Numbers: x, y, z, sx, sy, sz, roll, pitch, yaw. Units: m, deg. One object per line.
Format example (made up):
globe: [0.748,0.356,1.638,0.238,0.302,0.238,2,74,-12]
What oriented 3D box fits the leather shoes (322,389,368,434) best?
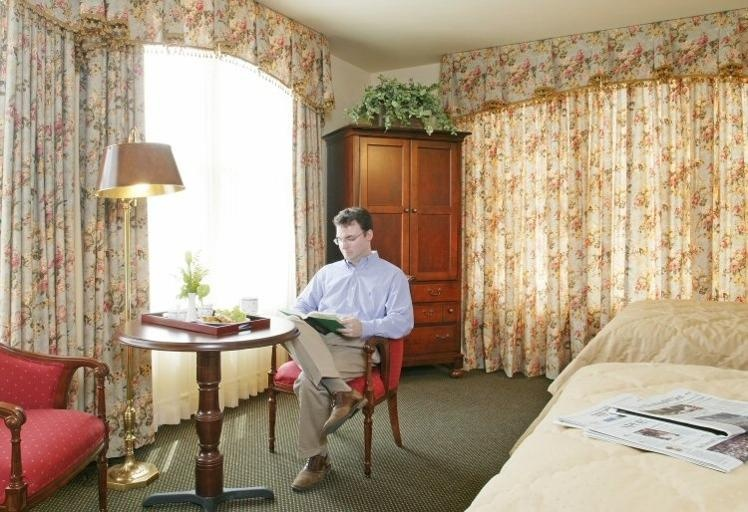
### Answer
leather shoes: [-0.222,1.006,4.084,0.183,0.260,0.325,9,16,35]

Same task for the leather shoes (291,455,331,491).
leather shoes: [-0.410,1.427,4.177,0.124,0.133,0.305,-1,-4,27]

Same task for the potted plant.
potted plant: [0.242,-1.588,5.942,1.028,0.555,0.689,3,14,-13]

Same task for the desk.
desk: [-1.039,0.954,4.116,1.147,1.123,1.137,2,-3,-43]

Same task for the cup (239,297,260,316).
cup: [-0.828,0.343,4.186,0.126,0.110,0.097,0,0,19]

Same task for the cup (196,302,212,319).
cup: [-1.087,0.349,3.990,0.074,0.073,0.093,0,-4,-13]
